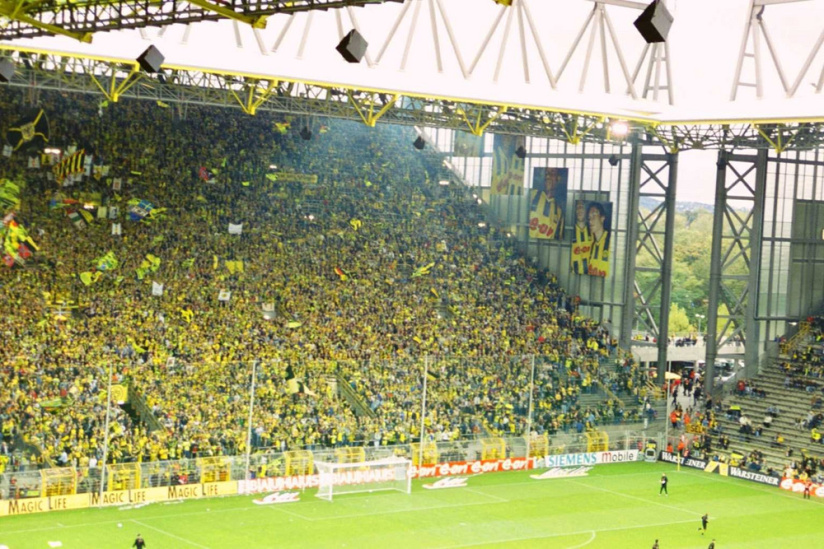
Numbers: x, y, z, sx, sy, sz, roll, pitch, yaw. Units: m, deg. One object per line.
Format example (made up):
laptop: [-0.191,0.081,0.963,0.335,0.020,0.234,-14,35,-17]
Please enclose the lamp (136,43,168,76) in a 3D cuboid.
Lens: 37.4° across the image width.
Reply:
lamp: [-13.539,-11.240,62.752,1.567,1.359,2.474,46,-10,-22]
